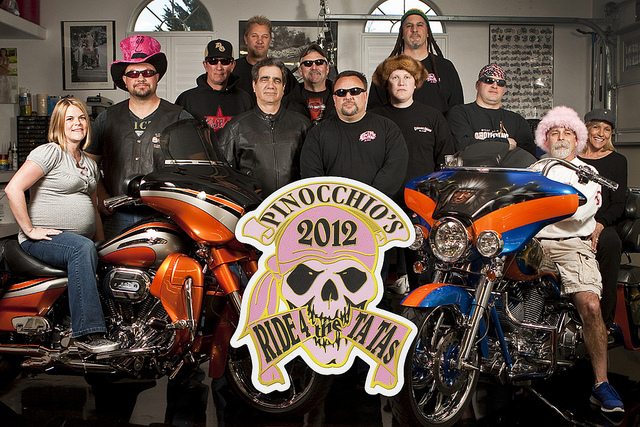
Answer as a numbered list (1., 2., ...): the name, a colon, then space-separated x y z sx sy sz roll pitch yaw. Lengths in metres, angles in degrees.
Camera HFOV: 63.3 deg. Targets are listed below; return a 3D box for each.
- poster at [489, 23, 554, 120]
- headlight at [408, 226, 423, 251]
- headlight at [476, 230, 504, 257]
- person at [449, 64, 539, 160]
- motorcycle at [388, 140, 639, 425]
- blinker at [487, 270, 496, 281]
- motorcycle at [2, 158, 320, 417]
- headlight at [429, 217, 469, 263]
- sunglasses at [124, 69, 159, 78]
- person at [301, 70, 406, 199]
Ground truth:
1. poster: 3.428 -2.436 8.818 1.115 1.561 0.207 -1 9 -4
2. headlight: 0.581 0.145 3.180 0.112 0.145 0.041 1 -3 5
3. headlight: 1.007 0.171 3.093 0.142 0.181 0.068 3 19 38
4. person: 1.518 -0.790 4.616 0.744 1.131 0.521 5 -9 -14
5. motorcycle: 1.597 0.414 3.597 2.283 1.526 1.089 -3 4 -39
6. blinker: 1.042 0.376 3.167 0.039 0.062 0.014 1 -1 9
7. motorcycle: -0.977 0.579 4.006 2.412 1.714 1.241 -1 -3 7
8. headlight: 0.774 0.155 3.134 0.231 0.267 0.060 2 10 12
9. sunglasses: -1.402 -1.093 4.036 0.224 0.064 0.075 -4 11 -20
10. person: 0.252 -0.468 4.025 0.772 1.304 0.589 0 -11 5
